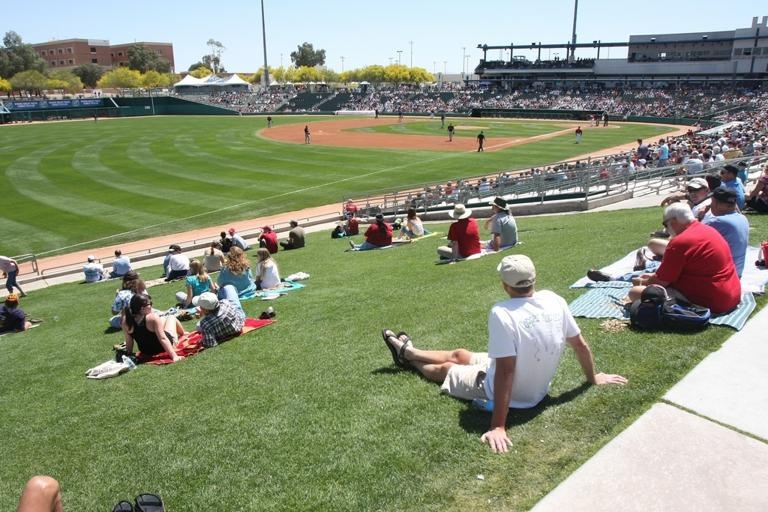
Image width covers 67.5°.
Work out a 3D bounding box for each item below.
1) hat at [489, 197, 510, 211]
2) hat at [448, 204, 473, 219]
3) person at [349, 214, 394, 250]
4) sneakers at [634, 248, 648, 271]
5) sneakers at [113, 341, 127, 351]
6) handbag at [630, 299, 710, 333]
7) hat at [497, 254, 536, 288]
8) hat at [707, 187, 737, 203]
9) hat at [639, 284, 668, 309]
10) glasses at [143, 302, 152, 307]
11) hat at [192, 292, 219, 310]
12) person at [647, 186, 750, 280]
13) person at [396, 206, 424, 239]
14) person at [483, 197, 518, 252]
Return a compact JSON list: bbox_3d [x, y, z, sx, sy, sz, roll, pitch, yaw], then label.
[{"bbox_3d":[2.618,-1.186,12.969,0.428,0.178,0.501,24,11,34],"label":"hat"},{"bbox_3d":[1.709,-0.991,12.888,0.344,0.459,0.665,1,18,13],"label":"hat"},{"bbox_3d":[-0.329,-0.710,18.000,1.015,0.926,1.378,-5,5,-30],"label":"person"},{"bbox_3d":[4.613,0.063,10.228,0.194,0.522,0.246,12,1,25],"label":"sneakers"},{"bbox_3d":[-4.807,1.621,10.461,0.165,0.169,0.450,3,2,-29],"label":"sneakers"},{"bbox_3d":[4.165,0.822,8.416,0.717,0.299,0.573,-2,-1,37],"label":"handbag"},{"bbox_3d":[1.639,0.180,7.120,0.403,0.387,0.224,-3,19,2],"label":"hat"},{"bbox_3d":[5.453,-0.993,9.281,0.259,0.164,0.334,0,10,-8],"label":"hat"},{"bbox_3d":[3.888,0.591,8.378,0.363,0.288,0.259,-9,6,13],"label":"hat"},{"bbox_3d":[-4.128,0.834,10.011,0.165,0.049,0.155,-3,20,2],"label":"glasses"},{"bbox_3d":[-3.239,0.834,10.399,0.353,0.252,0.514,-13,25,-40],"label":"hat"},{"bbox_3d":[5.460,-0.518,9.420,1.168,1.392,1.460,-18,27,-33],"label":"person"},{"bbox_3d":[0.887,-1.105,18.321,0.745,1.057,1.042,-3,18,4],"label":"person"},{"bbox_3d":[2.736,-0.817,13.430,0.765,1.338,1.168,-1,19,11],"label":"person"}]
